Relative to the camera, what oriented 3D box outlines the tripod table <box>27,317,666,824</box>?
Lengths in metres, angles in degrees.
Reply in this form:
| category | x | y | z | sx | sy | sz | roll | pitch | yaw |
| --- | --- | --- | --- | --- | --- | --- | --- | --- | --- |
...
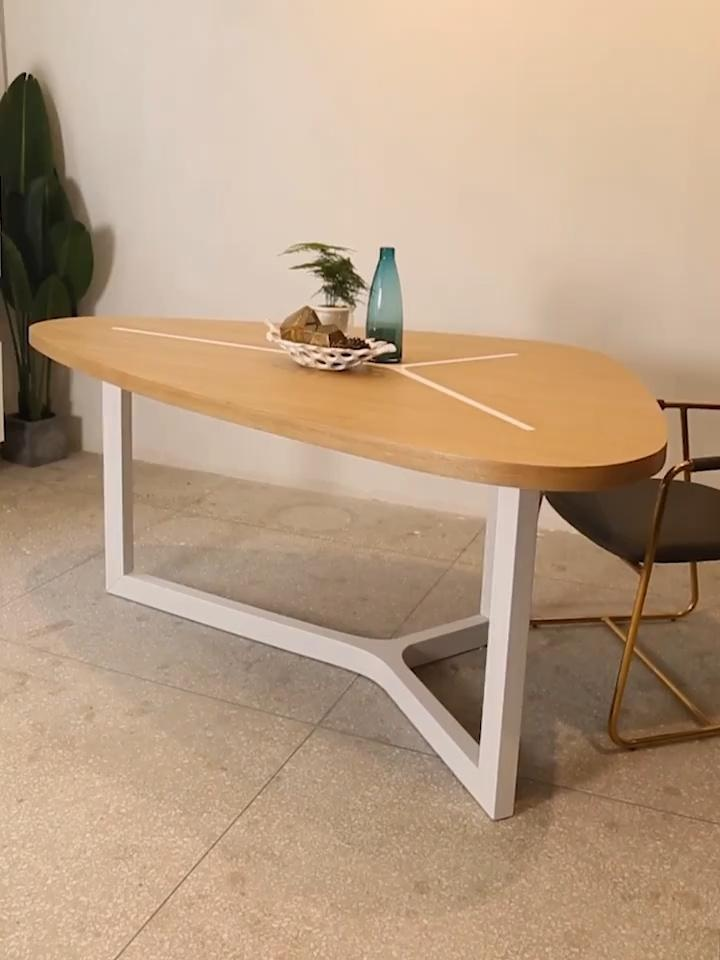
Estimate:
| category | x | y | z | sx | sy | sz | roll | pitch | yaw |
| --- | --- | --- | --- | --- | --- | --- | --- | --- | --- |
| tripod table | 0.023 | 0.106 | 1.819 | 0.936 | 0.748 | 1.442 | -14 | 24 | -43 |

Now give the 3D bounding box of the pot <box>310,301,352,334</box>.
| category | x | y | z | sx | sy | sz | roll | pitch | yaw |
| --- | --- | --- | --- | --- | --- | --- | --- | --- | --- |
| pot | -0.066 | -0.403 | 1.949 | 0.088 | 0.065 | 0.086 | 1 | 21 | 0 |
